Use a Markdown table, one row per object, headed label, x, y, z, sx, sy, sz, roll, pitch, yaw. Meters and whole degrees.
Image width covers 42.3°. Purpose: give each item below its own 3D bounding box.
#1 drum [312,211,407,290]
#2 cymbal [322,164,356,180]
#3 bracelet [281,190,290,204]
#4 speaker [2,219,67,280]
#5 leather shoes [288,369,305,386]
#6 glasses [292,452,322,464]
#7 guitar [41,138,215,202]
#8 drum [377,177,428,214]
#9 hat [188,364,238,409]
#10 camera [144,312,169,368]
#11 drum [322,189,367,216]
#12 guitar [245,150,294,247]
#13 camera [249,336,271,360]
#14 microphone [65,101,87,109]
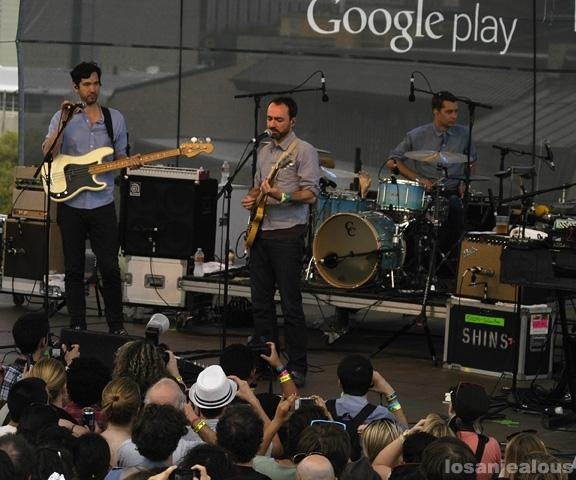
| label | x | y | z | sx | sy | sz | roll | pitch | yaw |
| --- | --- | --- | --- | --- | --- | --- | --- | --- | --- |
| drum | 0.601 | 0.050 | 6.474 | 0.660 | 0.623 | 0.528 | 15 | 15 | 30 |
| cymbal | 0.569 | -0.741 | 8.146 | 0.405 | 0.201 | 0.253 | 10 | 9 | 7 |
| bracelet | -0.008 | -0.289 | 5.130 | 0.066 | 0.063 | 0.062 | -10 | 10 | -30 |
| speaker | -2.322 | 0.075 | 6.863 | 0.588 | 0.559 | 0.429 | -1 | -1 | 24 |
| leather shoes | 0.046 | 0.956 | 5.285 | 0.066 | 0.080 | 0.173 | -9 | 27 | -29 |
| glasses | 0.064 | 0.804 | 2.779 | 0.095 | 0.029 | 0.100 | -6 | -13 | 38 |
| guitar | -1.249 | -0.504 | 5.450 | 1.045 | 0.507 | 0.505 | 2 | 3 | -15 |
| drum | 1.005 | -0.368 | 6.666 | 0.459 | 0.279 | 0.458 | 6 | -3 | 0 |
| hat | -0.328 | 0.659 | 3.322 | 0.212 | 0.170 | 0.199 | 3 | 3 | -5 |
| camera | -0.752 | 0.615 | 4.260 | 0.117 | 0.337 | 0.237 | 5 | 18 | 6 |
| drum | 0.488 | -0.333 | 6.863 | 0.285 | 0.170 | 0.280 | 1 | 5 | 0 |
| guitar | -0.114 | -0.282 | 5.291 | 0.120 | 0.311 | 0.776 | 19 | -39 | -4 |
| camera | -0.152 | 0.596 | 4.026 | 0.122 | 0.120 | 0.204 | 3 | 3 | -3 |
| microphone | -1.403 | -0.904 | 5.018 | 0.158 | 0.037 | 0.089 | 5 | 4 | 33 |
